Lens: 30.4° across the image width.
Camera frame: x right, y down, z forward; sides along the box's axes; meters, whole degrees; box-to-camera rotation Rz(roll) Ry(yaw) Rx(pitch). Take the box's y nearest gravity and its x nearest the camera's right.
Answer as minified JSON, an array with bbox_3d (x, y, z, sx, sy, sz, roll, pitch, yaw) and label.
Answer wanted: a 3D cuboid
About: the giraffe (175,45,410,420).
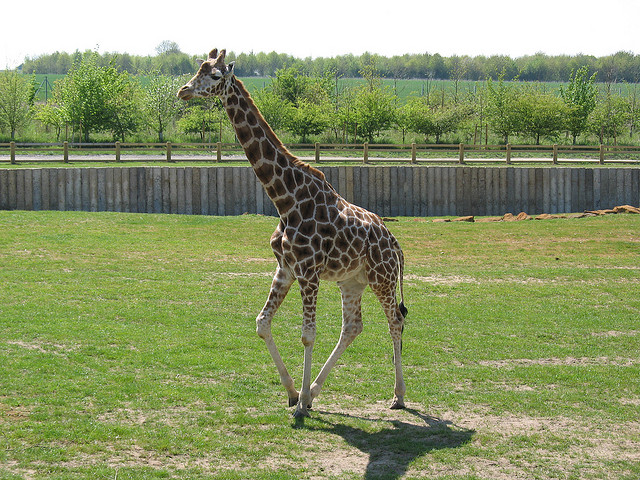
[{"bbox_3d":[-0.978,-0.068,37.719,7.635,10.357,5.478,-2,5,-18],"label":"giraffe"}]
